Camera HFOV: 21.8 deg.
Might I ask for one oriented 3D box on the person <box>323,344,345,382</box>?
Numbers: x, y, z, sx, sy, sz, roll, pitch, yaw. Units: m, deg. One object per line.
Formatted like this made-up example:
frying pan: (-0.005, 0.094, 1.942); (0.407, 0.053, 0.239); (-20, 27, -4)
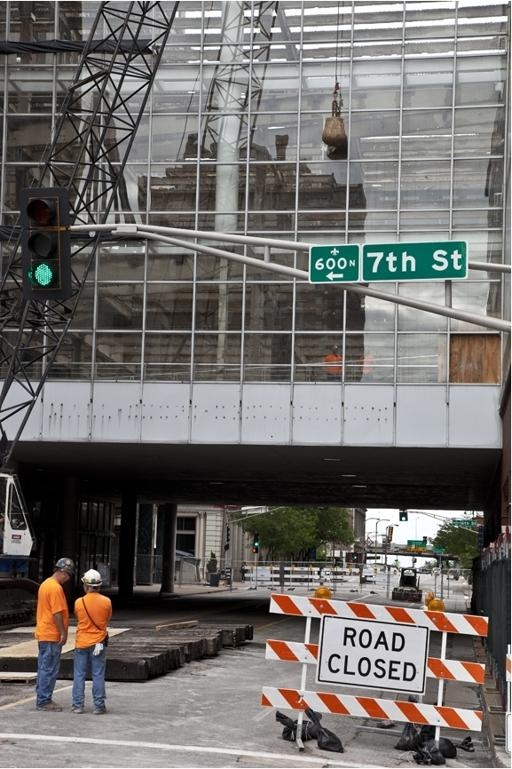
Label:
person: (1.909, -0.505, 33.205); (0.591, 1.139, 0.636); (-2, -2, 15)

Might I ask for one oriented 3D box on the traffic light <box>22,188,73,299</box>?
traffic light: (-2.661, -1.811, 16.939); (0.655, 1.397, 0.315); (1, -5, 0)

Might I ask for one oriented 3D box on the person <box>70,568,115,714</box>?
person: (-2.072, 3.258, 16.773); (0.439, 1.779, 0.541); (2, -5, -8)

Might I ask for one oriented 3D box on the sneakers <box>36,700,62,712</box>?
sneakers: (-2.625, 4.085, 16.891); (0.268, 0.140, 0.139); (-1, -4, -2)

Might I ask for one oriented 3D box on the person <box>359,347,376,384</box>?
person: (2.720, -0.446, 33.003); (0.349, 0.832, 0.575); (0, -5, 6)

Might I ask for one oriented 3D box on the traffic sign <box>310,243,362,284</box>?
traffic sign: (1.013, -1.521, 16.923); (0.423, 0.382, 0.062); (0, -5, 14)
